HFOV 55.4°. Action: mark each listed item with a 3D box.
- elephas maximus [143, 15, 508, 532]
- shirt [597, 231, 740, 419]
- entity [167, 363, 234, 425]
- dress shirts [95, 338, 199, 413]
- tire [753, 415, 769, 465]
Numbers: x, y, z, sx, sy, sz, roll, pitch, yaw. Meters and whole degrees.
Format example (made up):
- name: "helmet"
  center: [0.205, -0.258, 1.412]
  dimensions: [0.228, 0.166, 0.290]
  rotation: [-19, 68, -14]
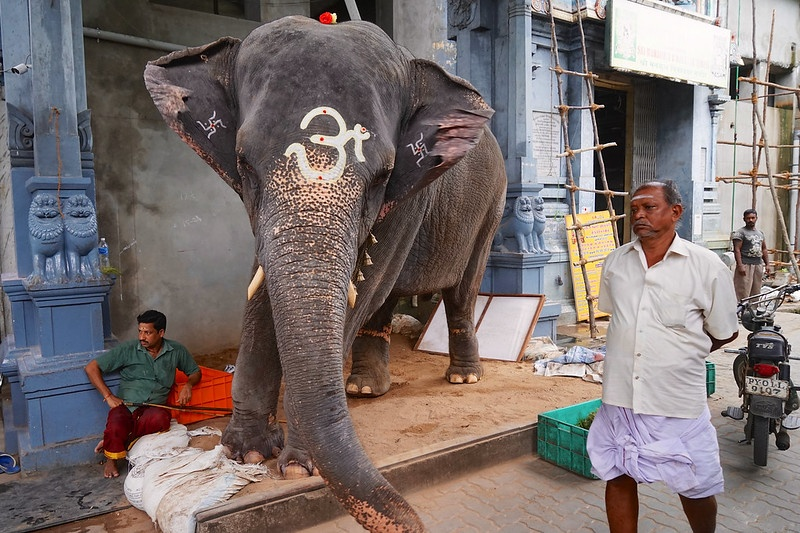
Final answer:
- name: "elephas maximus"
  center: [-0.685, -0.248, 7.668]
  dimensions: [2.798, 3.354, 4.747]
  rotation: [1, 1, 23]
- name: "shirt"
  center: [1.956, 0.443, 5.583]
  dimensions: [0.940, 1.315, 0.330]
  rotation: [1, 5, 15]
- name: "entity"
  center: [-1.864, 1.213, 7.212]
  dimensions: [0.566, 0.326, 0.569]
  rotation: [-8, -10, 37]
- name: "dress shirts"
  center: [-2.319, 0.991, 6.856]
  dimensions: [0.716, 0.413, 0.206]
  rotation: [9, -10, -36]
- name: "tire"
  center: [3.185, 1.548, 6.741]
  dimensions: [0.119, 0.449, 0.200]
  rotation: [2, 5, 21]
